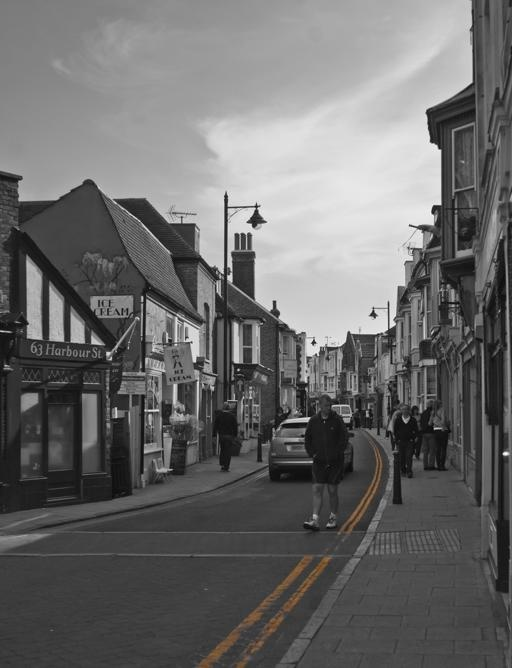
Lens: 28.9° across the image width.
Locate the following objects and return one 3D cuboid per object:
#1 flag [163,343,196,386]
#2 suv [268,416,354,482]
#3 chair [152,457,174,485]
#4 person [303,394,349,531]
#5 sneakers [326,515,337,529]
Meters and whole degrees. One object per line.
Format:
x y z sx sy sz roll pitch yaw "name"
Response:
-1.785 0.670 22.559 0.629 1.266 0.045 -8 -9 18 "flag"
0.859 2.469 21.943 0.964 1.078 2.189 -1 1 12 "suv"
-2.009 2.865 21.044 0.324 0.680 0.391 0 0 23 "chair"
0.891 1.627 12.694 0.542 1.686 1.046 -1 -7 6 "person"
0.954 2.364 12.511 0.066 0.189 0.251 -1 -15 7 "sneakers"
